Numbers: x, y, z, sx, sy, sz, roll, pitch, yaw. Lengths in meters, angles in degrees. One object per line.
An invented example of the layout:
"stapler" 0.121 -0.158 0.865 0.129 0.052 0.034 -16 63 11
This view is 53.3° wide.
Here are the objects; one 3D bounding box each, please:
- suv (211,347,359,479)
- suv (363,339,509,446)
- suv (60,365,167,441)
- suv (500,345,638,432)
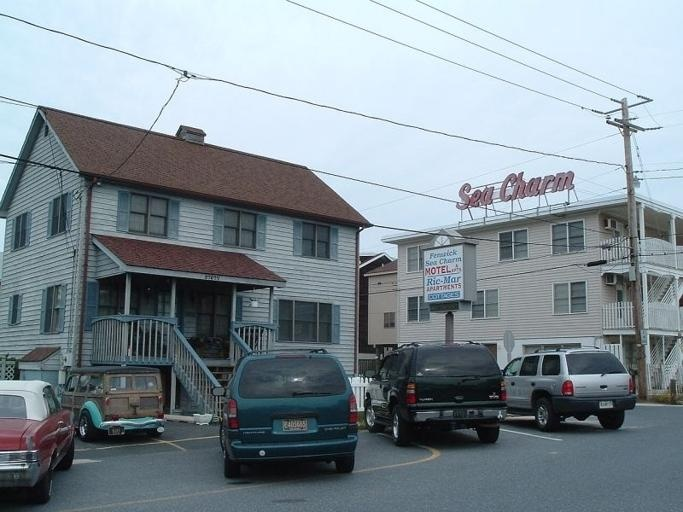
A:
"suv" -0.922 2.726 12.259 1.955 1.254 2.878 1 -6 -13
"suv" 2.016 3.192 16.914 2.104 1.464 3.668 3 -6 -16
"suv" -5.787 3.662 17.071 2.319 1.779 1.272 -6 -10 28
"suv" 6.115 3.682 19.268 2.402 1.493 4.000 3 -7 -19
